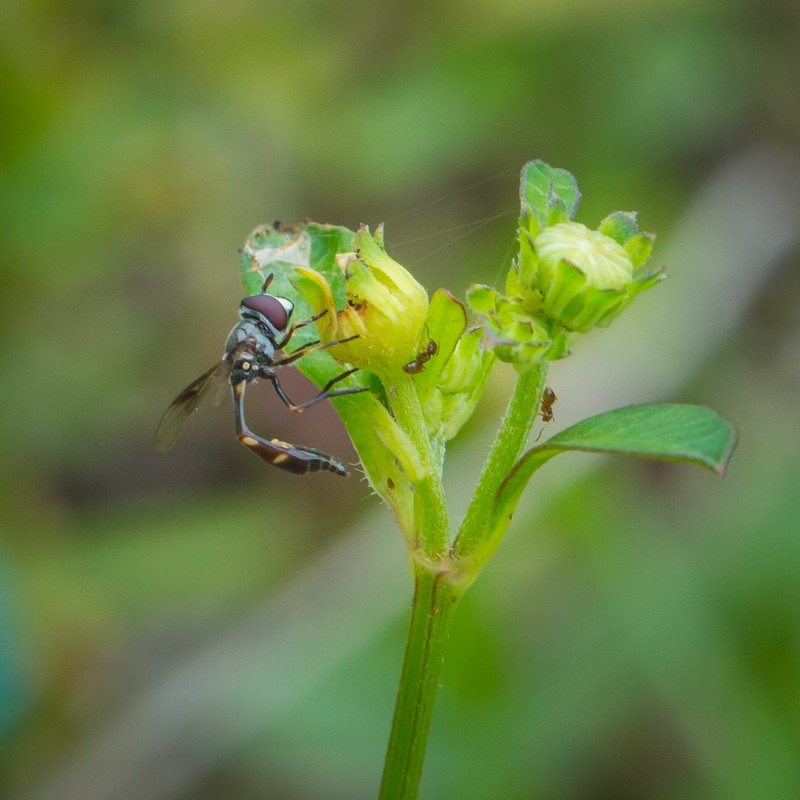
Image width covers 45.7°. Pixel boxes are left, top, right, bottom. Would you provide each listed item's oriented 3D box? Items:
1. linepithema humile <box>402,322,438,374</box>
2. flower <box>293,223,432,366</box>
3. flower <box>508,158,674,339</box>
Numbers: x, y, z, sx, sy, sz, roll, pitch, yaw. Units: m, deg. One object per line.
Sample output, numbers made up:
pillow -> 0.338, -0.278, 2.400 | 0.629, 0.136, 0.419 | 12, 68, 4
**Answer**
linepithema humile -> 0.051, -0.135, 2.480 | 0.104, 0.078, 0.031 | -42, 43, 9
flower -> -0.084, -0.237, 2.420 | 0.179, 0.364, 0.296 | 0, 0, -43
flower -> 0.435, -0.417, 2.464 | 0.197, 0.449, 0.456 | -49, 15, 8
